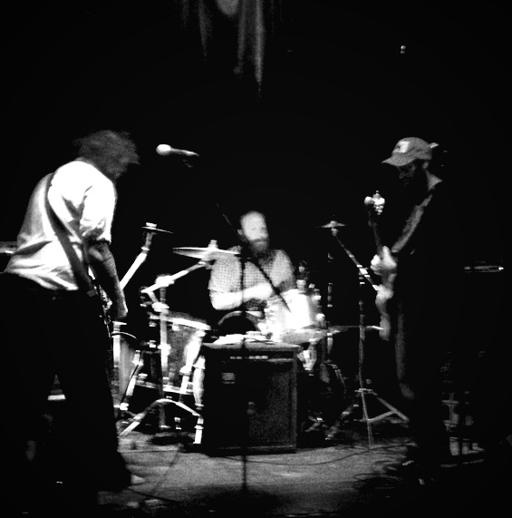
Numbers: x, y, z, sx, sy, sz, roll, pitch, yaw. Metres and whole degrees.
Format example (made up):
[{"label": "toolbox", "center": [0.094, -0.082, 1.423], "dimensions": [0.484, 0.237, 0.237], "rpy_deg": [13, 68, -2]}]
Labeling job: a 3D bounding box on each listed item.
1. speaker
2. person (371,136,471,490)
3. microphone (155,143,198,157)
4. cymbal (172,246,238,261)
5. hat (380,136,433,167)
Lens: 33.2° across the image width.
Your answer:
[{"label": "speaker", "center": [-0.044, 0.858, 5.305], "dimensions": [0.778, 0.725, 0.636], "rpy_deg": [1, -9, -13]}, {"label": "person", "center": [0.967, 0.184, 5.385], "dimensions": [0.497, 1.907, 0.389], "rpy_deg": [-11, -19, 43]}, {"label": "microphone", "center": [-0.484, -0.650, 5.188], "dimensions": [0.283, 0.073, 0.075], "rpy_deg": [6, -23, -24]}, {"label": "cymbal", "center": [-0.313, -0.047, 5.352], "dimensions": [0.405, 0.070, 0.234], "rpy_deg": [1, -12, 0]}, {"label": "hat", "center": [0.968, -0.688, 5.473], "dimensions": [0.269, 0.086, 0.196], "rpy_deg": [-3, -6, -9]}]
